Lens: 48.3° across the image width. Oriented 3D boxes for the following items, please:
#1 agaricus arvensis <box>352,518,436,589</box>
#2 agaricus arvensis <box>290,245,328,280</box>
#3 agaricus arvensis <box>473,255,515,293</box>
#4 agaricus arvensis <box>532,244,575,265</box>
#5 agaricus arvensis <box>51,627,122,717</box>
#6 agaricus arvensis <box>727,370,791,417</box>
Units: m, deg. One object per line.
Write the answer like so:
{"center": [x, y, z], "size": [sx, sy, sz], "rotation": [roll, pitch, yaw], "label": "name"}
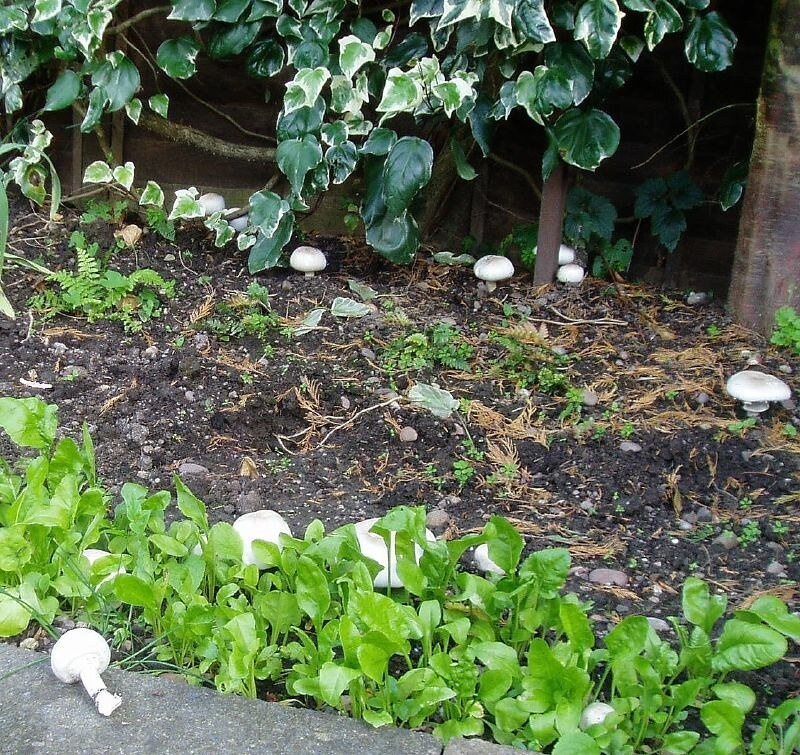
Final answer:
{"center": [-0.014, 0.438, 2.198], "size": [0.230, 0.047, 0.200], "rotation": [1, 19, -5], "label": "agaricus arvensis"}
{"center": [-0.406, -0.508, 3.914], "size": [0.168, 0.103, 0.148], "rotation": [0, 14, -3], "label": "agaricus arvensis"}
{"center": [0.409, -0.468, 3.980], "size": [0.193, 0.152, 0.174], "rotation": [-8, 14, -22], "label": "agaricus arvensis"}
{"center": [0.691, -0.555, 4.037], "size": [0.179, 0.083, 0.086], "rotation": [-1, 6, -7], "label": "agaricus arvensis"}
{"center": [-0.690, 0.658, 1.998], "size": [0.140, 0.093, 0.211], "rotation": [2, 34, -47], "label": "agaricus arvensis"}
{"center": [1.206, 0.040, 3.021], "size": [0.190, 0.081, 0.170], "rotation": [-21, 30, -29], "label": "agaricus arvensis"}
